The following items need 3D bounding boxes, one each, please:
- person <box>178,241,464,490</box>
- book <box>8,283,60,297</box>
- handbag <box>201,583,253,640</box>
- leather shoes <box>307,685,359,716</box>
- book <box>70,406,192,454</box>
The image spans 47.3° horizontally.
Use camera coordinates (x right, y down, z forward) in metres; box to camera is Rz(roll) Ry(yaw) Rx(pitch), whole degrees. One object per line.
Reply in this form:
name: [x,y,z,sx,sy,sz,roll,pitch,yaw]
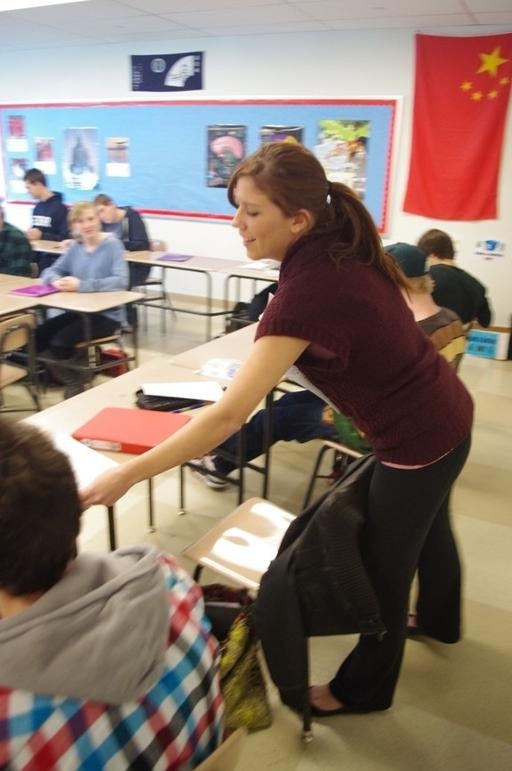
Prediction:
person: [0.223,-0.021,2.444,1.044,1.191,0.525,14,14,26]
book: [-1.443,-0.620,3.803,0.160,0.021,0.178,16,25,28]
handbag: [-0.066,0.464,1.228,0.039,0.137,0.154,3,1,-24]
leather shoes: [0.201,0.825,1.523,0.123,0.045,0.066,4,15,3]
book: [-0.352,0.116,1.611,0.170,0.034,0.173,6,21,11]
